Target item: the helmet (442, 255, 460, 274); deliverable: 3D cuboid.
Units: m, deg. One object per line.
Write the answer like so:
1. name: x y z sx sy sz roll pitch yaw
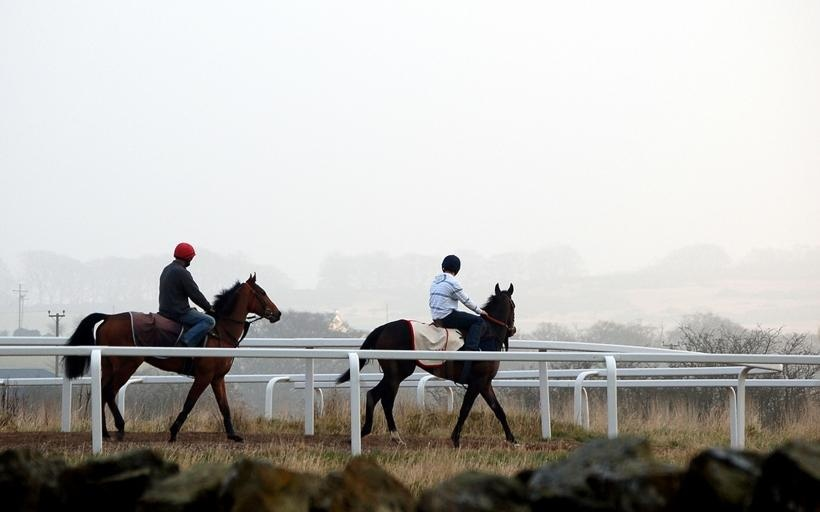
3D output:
1. helmet: 0.661 0.141 16.117 0.172 0.226 0.226 18 -25 12

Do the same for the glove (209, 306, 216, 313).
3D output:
1. glove: -3.433 0.935 17.461 0.100 0.097 0.024 0 -3 13

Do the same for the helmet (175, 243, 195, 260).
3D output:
1. helmet: -3.390 -0.060 15.093 0.233 0.220 0.195 14 5 -11
